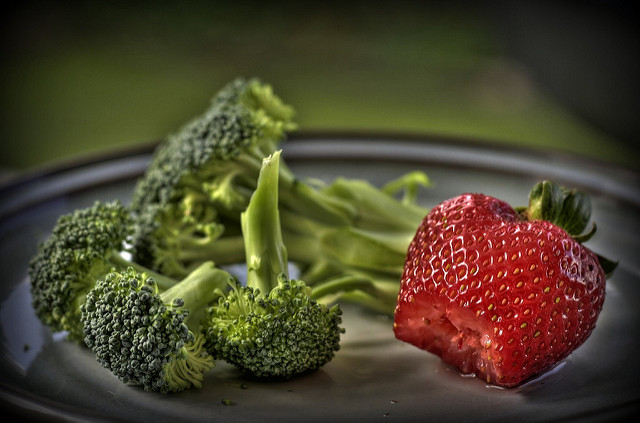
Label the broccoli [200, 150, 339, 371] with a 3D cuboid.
[{"bbox_3d":[-0.062,0.137,1.112,0.254,0.377,0.369,13,60,5],"label":"broccoli"}]

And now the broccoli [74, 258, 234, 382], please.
[{"bbox_3d":[-0.294,0.235,1.092,0.207,0.151,0.247,47,39,17],"label":"broccoli"}]
